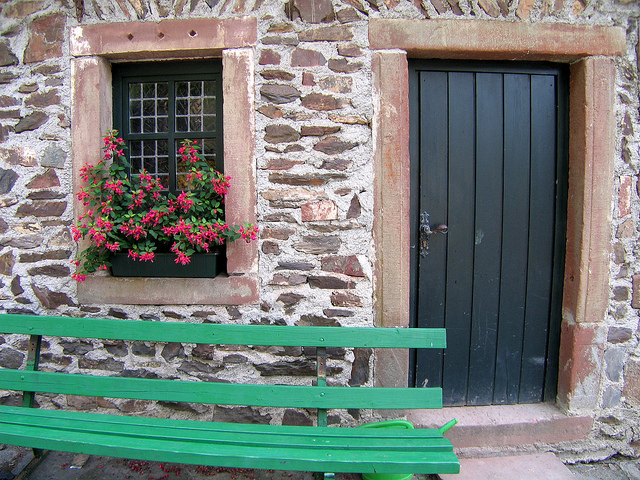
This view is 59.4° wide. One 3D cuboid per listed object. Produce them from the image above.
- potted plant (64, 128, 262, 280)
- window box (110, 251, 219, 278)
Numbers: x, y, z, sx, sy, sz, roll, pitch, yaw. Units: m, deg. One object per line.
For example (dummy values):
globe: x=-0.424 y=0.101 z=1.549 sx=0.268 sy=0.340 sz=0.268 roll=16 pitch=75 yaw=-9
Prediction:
potted plant: x=-1.156 y=-0.129 z=3.985 sx=1.093 sy=0.766 sz=0.605 roll=2 pitch=-8 yaw=-17
window box: x=-1.079 y=0.168 z=3.870 sx=0.750 sy=0.169 sz=0.072 roll=1 pitch=2 yaw=1
